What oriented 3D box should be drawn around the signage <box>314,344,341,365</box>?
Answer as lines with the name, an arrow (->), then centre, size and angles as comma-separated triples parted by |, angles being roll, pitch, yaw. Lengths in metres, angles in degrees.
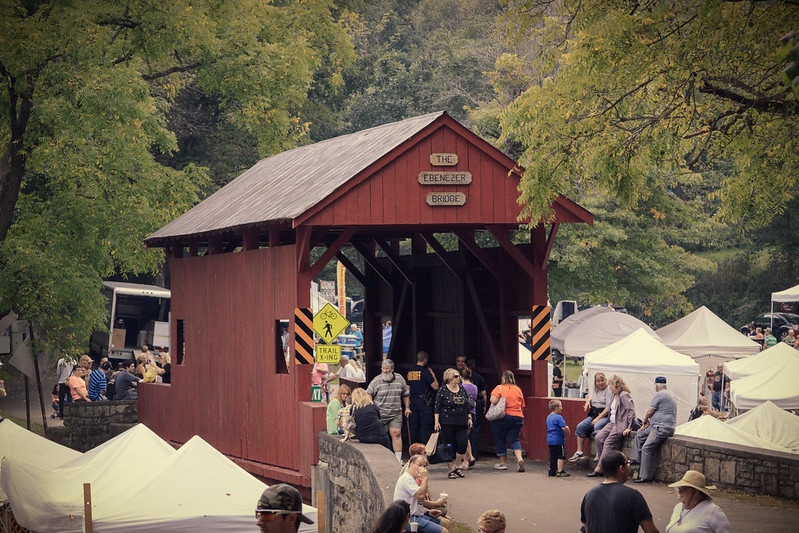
signage -> -2.019, 2.499, 40.741 | 0.660, 0.526, 0.098 | 1, 1, -8

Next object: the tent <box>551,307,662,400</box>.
tent -> 7.418, 3.719, 54.202 | 2.571, 2.642, 3.920 | -3, 1, -9

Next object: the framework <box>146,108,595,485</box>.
framework -> -1.528, 1.100, 41.148 | 8.439, 8.906, 12.106 | 2, -6, -28

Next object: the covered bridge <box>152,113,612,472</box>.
covered bridge -> -1.432, 0.767, 40.813 | 8.625, 9.166, 11.722 | 2, -6, -27

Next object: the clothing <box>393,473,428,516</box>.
clothing -> 0.238, 5.000, 31.243 | 0.675, 0.898, 0.452 | 5, -11, -18

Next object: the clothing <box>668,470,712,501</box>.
clothing -> 5.848, 4.361, 28.783 | 0.791, 0.390, 0.634 | 13, -11, -3

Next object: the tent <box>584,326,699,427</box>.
tent -> 7.586, 3.541, 44.976 | 2.846, 2.578, 2.990 | 1, -6, -3
